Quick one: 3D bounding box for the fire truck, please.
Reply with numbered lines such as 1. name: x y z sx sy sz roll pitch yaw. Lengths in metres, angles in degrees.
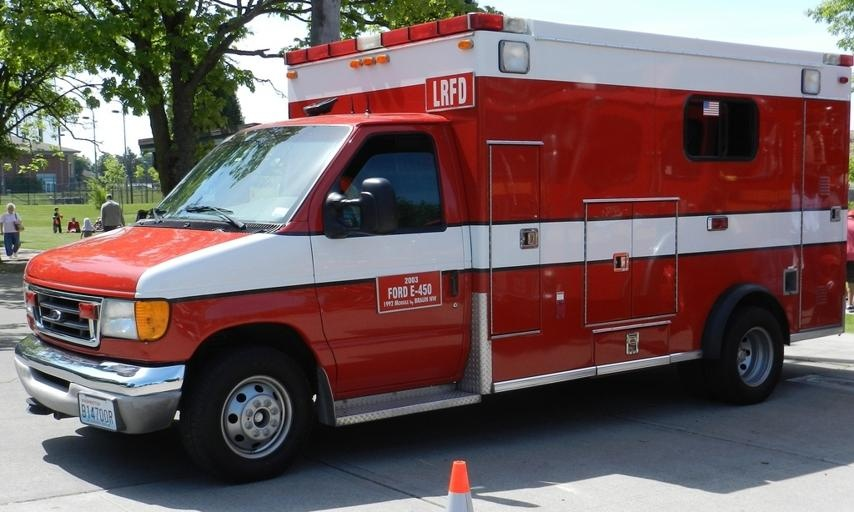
1. fire truck: 0.423 -0.219 9.945 9.503 4.430 5.145 -2 5 -27
